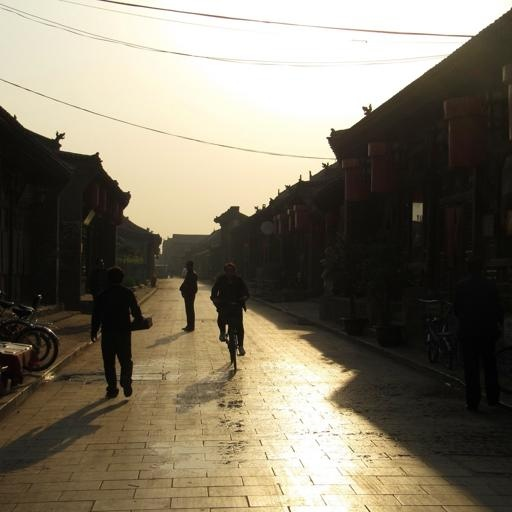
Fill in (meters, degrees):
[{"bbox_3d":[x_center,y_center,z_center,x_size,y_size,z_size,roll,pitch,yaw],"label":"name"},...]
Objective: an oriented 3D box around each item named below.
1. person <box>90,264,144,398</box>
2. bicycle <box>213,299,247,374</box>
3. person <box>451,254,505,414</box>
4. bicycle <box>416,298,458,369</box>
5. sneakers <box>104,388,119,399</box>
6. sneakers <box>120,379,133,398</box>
[{"bbox_3d":[-1.801,0.976,8.085,0.647,1.657,0.665,0,-1,-17],"label":"person"},{"bbox_3d":[-0.419,1.338,10.739,0.510,1.050,1.205,0,-1,-9],"label":"bicycle"},{"bbox_3d":[2.674,0.922,7.443,0.514,1.795,0.441,0,-1,-7],"label":"person"},{"bbox_3d":[3.407,1.415,11.233,0.546,0.862,1.272,-2,3,-1],"label":"bicycle"},{"bbox_3d":[-1.830,1.757,7.882,0.081,0.158,0.154,0,-9,-3],"label":"sneakers"},{"bbox_3d":[-1.644,1.689,7.910,0.135,0.219,0.236,0,-1,-5],"label":"sneakers"}]
